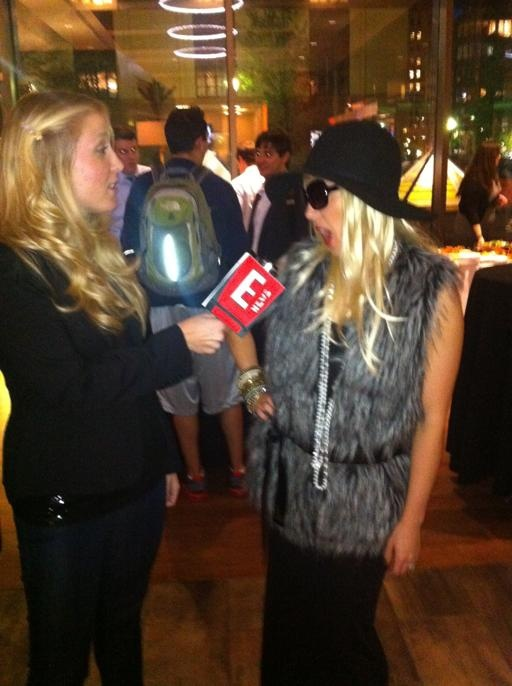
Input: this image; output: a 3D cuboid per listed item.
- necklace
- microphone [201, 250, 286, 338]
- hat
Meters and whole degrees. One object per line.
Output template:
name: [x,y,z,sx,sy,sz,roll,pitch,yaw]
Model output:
necklace: [0.182,0.032,1.015,0.158,0.449,0.184,0,9,5]
microphone: [-0.025,-0.096,1.047,0.123,0.171,0.041,39,20,-10]
hat: [0.193,-0.303,0.933,0.215,0.176,0.121,0,9,5]
